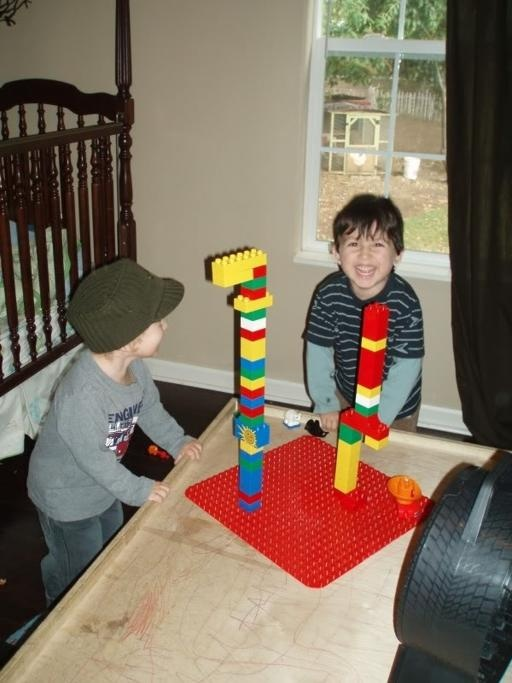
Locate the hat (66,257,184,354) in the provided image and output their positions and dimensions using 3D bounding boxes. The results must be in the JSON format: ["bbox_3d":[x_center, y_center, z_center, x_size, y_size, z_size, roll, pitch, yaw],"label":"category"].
[{"bbox_3d":[-0.229,-0.051,0.999,0.191,0.100,0.148,-37,52,4],"label":"hat"}]

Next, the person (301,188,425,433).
[{"bbox_3d":[0.308,0.024,1.553,0.302,0.879,0.283,18,41,32],"label":"person"}]
